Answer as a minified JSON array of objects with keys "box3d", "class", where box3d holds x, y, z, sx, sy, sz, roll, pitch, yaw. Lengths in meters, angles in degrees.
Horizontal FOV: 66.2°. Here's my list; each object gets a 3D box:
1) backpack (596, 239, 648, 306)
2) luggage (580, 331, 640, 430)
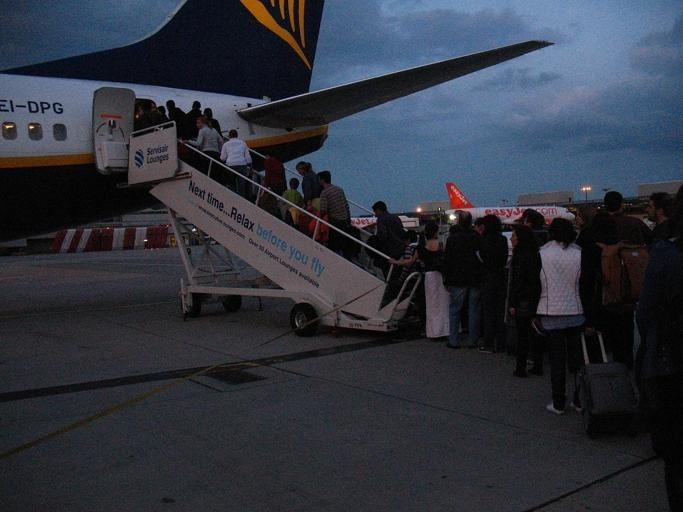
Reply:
[{"box3d":[3.184,0.229,5.959,0.461,0.736,0.284,3,4,28],"class":"backpack"},{"box3d":[2.862,1.264,5.811,0.547,1.142,0.405,-6,-30,12],"class":"luggage"}]
